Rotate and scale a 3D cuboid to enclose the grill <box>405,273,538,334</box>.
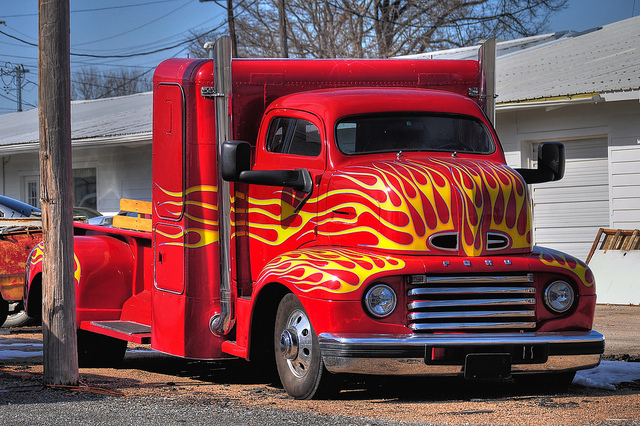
[{"bbox_3d":[1.562,0.938,9.091,1.546,0.622,1.586,-1,-3,-26],"label":"grill"}]

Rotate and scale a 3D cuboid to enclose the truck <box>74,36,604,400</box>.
[{"bbox_3d":[-0.359,0.056,10.729,3.323,2.918,6.275,1,-2,-29],"label":"truck"}]
